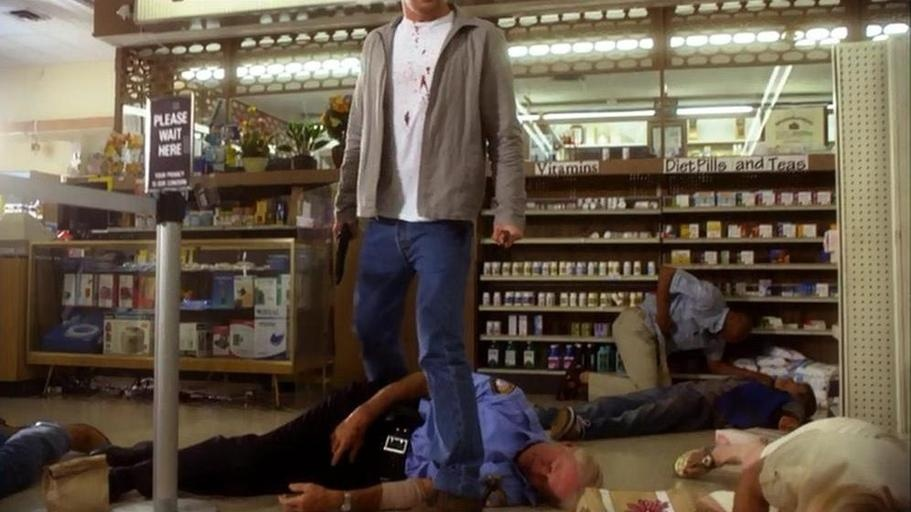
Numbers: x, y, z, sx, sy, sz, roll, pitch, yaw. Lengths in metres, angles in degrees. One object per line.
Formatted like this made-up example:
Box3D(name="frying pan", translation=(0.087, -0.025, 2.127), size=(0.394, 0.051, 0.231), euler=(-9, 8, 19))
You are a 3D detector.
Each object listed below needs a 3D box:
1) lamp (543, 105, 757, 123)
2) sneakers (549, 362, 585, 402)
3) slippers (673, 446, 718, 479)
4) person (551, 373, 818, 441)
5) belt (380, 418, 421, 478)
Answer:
Box3D(name="lamp", translation=(1.815, -1.417, 7.903), size=(1.857, 0.076, 0.219), euler=(-1, -43, 1))
Box3D(name="sneakers", translation=(1.094, 1.212, 7.222), size=(0.265, 0.310, 0.140), euler=(6, -2, 4))
Box3D(name="slippers", translation=(1.597, 1.415, 5.149), size=(0.284, 0.148, 0.082), euler=(-19, -38, 30))
Box3D(name="person", translation=(1.781, 1.234, 6.031), size=(1.108, 0.195, 0.875), euler=(-7, 5, -12))
Box3D(name="belt", translation=(-0.371, 1.255, 4.924), size=(0.322, 0.291, 0.074), euler=(1, -16, 17))
